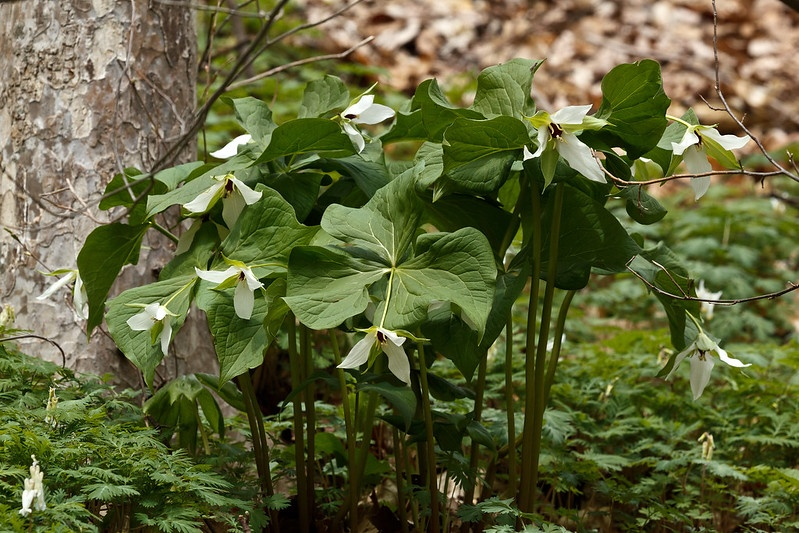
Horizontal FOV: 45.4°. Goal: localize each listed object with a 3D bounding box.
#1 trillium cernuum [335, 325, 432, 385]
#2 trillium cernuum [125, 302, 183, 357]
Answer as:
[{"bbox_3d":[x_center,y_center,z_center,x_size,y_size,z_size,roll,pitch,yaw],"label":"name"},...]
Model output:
[{"bbox_3d":[-0.091,0.485,5.160,0.307,0.120,0.319,0,13,36],"label":"trillium cernuum"},{"bbox_3d":[-1.375,0.315,5.343,0.252,0.258,0.165,20,-34,-17],"label":"trillium cernuum"}]
